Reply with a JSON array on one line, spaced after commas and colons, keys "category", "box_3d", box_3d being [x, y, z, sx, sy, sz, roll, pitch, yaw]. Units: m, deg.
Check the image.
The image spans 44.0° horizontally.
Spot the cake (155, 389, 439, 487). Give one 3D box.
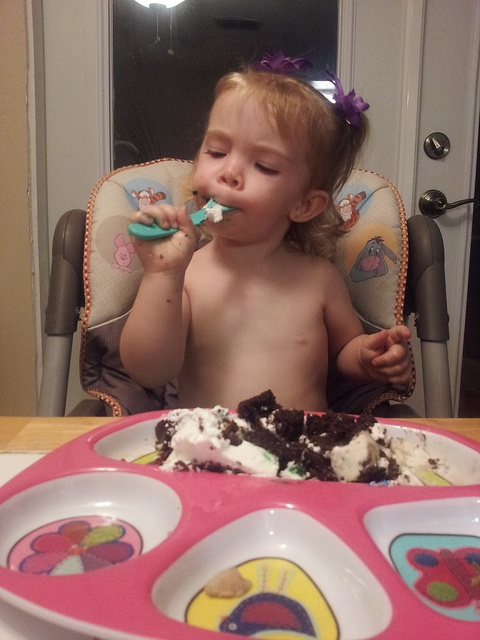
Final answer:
[{"category": "cake", "box_3d": [0.058, 0.120, 0.611, 0.220, 0.047, 0.121, 0, 14, -5]}]
